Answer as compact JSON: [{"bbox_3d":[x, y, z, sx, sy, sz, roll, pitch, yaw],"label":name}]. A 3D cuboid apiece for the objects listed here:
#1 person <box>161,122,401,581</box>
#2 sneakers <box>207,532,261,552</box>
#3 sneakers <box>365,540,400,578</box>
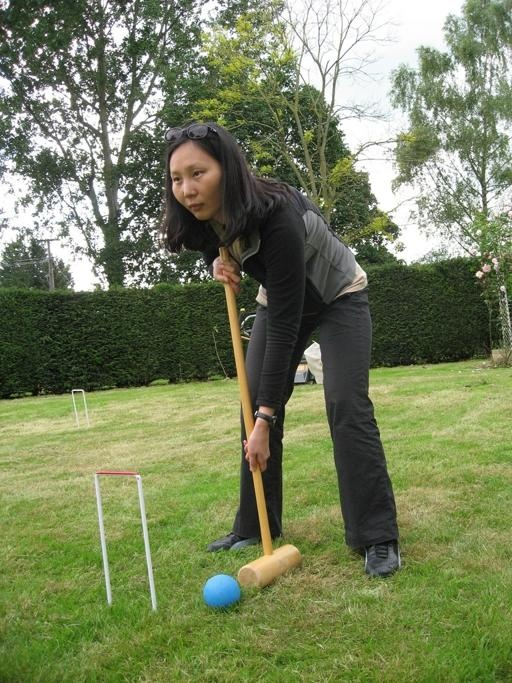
[{"bbox_3d":[0.085,0.035,2.064,0.759,1.572,0.816,-6,1,16],"label":"person"},{"bbox_3d":[-0.094,0.878,2.317,0.227,0.083,0.078,1,-25,-2],"label":"sneakers"},{"bbox_3d":[0.458,0.796,1.935,0.128,0.097,0.152,-6,0,9],"label":"sneakers"}]
